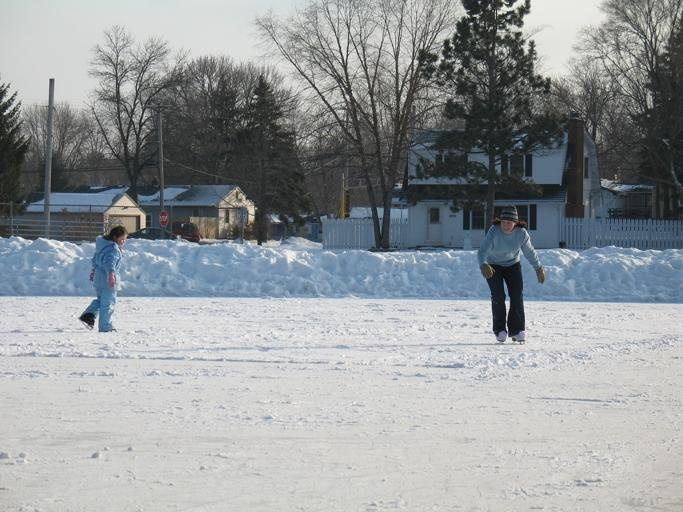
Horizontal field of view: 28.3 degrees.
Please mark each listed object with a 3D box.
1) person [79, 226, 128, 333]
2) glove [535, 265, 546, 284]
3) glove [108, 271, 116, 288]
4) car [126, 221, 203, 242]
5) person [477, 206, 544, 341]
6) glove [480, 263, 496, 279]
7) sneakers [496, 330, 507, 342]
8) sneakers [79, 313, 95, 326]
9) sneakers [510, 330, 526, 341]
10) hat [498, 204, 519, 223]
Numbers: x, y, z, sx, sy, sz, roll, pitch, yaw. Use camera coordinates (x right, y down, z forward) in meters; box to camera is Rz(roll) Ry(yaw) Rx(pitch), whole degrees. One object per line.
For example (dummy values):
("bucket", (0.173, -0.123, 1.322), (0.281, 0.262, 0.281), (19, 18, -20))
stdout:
("person", (-5.474, 0.583, 31.553), (1.008, 2.375, 1.389), (-2, 13, -8))
("glove", (4.780, 0.476, 32.755), (0.286, 0.314, 0.604), (-24, 6, 9))
("glove", (-5.281, 0.576, 31.402), (0.174, 0.337, 0.148), (-3, 13, -12))
("car", (-9.438, -1.177, 70.576), (2.731, 1.300, 1.827), (1, 1, 1))
("person", (3.803, 0.384, 30.820), (1.093, 2.919, 1.331), (11, 16, 40))
("glove", (3.267, 0.375, 30.396), (0.351, 0.320, 0.444), (5, -9, -6))
("sneakers", (3.589, 1.837, 30.518), (0.172, 0.248, 0.241), (1, -13, -2))
("sneakers", (-5.861, 1.512, 31.513), (0.318, 0.260, 0.274), (-4, -4, 40))
("sneakers", (4.002, 1.822, 30.568), (0.375, 0.236, 0.274), (-3, 13, -13))
("hat", (3.798, -0.948, 30.883), (0.405, 0.397, 0.726), (2, 13, 7))
